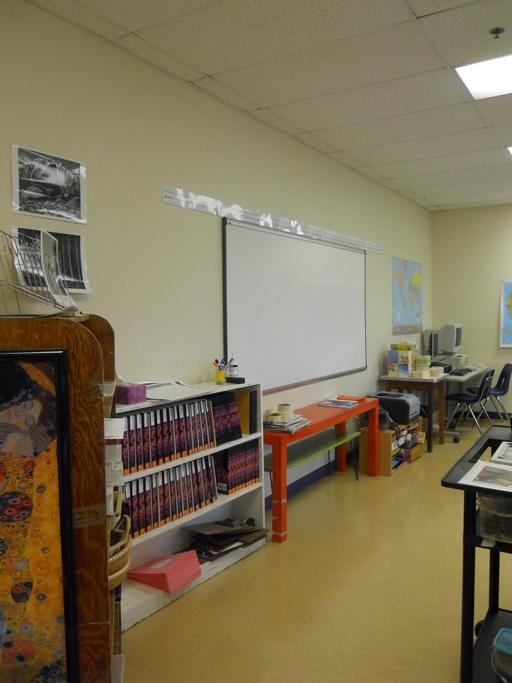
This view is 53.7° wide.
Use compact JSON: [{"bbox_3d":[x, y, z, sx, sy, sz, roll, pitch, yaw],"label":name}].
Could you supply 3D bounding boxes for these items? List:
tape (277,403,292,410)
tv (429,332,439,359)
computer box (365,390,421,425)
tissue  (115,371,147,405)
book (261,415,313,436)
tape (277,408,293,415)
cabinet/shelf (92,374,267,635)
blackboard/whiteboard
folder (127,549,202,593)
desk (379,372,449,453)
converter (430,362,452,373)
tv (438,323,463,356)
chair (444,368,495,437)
[{"bbox_3d":[0.197,0.450,3.511,0.068,0.032,0.072,0,1,5],"label":"tape"},{"bbox_3d":[2.236,0.035,6.352,0.038,0.441,0.321,0,0,28],"label":"tv"},{"bbox_3d":[1.382,0.646,4.983,0.318,0.242,0.337,4,7,33],"label":"computer box"},{"bbox_3d":[-0.551,0.196,2.226,0.121,0.139,0.134,1,0,26],"label":"tissue "},{"bbox_3d":[0.189,0.536,3.315,0.251,0.083,0.277,0,1,23],"label":"book"},{"bbox_3d":[0.199,0.460,3.376,0.104,0.060,0.069,-1,1,-12],"label":"tape"},{"bbox_3d":[-0.326,0.739,2.251,0.257,0.967,1.057,-2,3,27],"label":"cabinet/shelf"},{"bbox_3d":[0.284,-0.284,3.932,0.027,0.977,1.568,0,3,32],"label":"blackboard/whiteboard"},{"bbox_3d":[-0.453,1.124,2.478,0.186,0.099,0.200,0,5,40],"label":"folder"},{"bbox_3d":[1.908,0.696,5.619,0.712,1.153,0.924,0,2,30],"label":"desk"},{"bbox_3d":[2.311,0.298,6.258,0.213,0.092,0.234,2,5,34],"label":"converter"},{"bbox_3d":[2.548,-0.113,6.590,0.286,0.493,0.554,1,4,29],"label":"tv"},{"bbox_3d":[2.495,0.673,5.984,0.476,0.738,0.451,-2,6,-42],"label":"chair"}]
